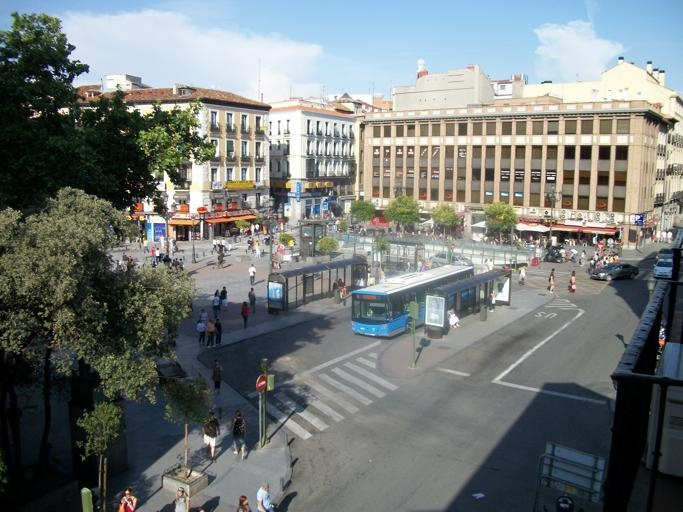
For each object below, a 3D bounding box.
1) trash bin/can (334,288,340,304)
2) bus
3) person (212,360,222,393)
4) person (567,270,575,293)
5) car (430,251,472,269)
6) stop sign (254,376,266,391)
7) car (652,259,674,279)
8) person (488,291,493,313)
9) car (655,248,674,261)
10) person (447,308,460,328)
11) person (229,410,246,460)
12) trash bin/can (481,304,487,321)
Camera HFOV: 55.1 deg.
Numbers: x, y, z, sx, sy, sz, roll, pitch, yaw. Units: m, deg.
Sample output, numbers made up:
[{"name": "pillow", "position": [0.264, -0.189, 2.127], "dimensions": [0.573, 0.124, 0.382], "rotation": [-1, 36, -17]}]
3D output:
[{"name": "trash bin/can", "position": [-0.282, 2.862, 46.854], "dimensions": [0.353, 1.039, 0.695], "rotation": [-5, 6, -40]}, {"name": "bus", "position": [4.660, 2.636, 42.031], "dimensions": [2.731, 2.915, 10.157], "rotation": [1, 6, 31]}, {"name": "person", "position": [-5.851, 5.540, 30.746], "dimensions": [0.407, 1.475, 1.104], "rotation": [-3, 4, -13]}, {"name": "person", "position": [18.946, 2.165, 53.759], "dimensions": [0.668, 1.019, 1.648], "rotation": [7, 33, 9]}, {"name": "car", "position": [9.932, 0.311, 59.235], "dimensions": [2.807, 1.203, 1.551], "rotation": [0, 8, 30]}, {"name": "stop sign", "position": [-3.076, 4.924, 25.378], "dimensions": [0.372, 0.719, 0.715], "rotation": [-2, 4, -3]}, {"name": "car", "position": [19.769, 0.720, 40.075], "dimensions": [1.052, 1.066, 2.438], "rotation": [-1, 2, 31]}, {"name": "person", "position": [10.665, 3.074, 46.134], "dimensions": [0.353, 1.367, 1.781], "rotation": [0, 5, 18]}, {"name": "car", "position": [25.700, -0.119, 51.927], "dimensions": [1.219, 1.133, 2.264], "rotation": [-4, 4, 11]}, {"name": "person", "position": [6.794, 3.912, 40.111], "dimensions": [0.793, 1.188, 0.373], "rotation": [-12, 14, -38]}, {"name": "person", "position": [-4.016, 6.779, 25.606], "dimensions": [0.506, 1.825, 1.536], "rotation": [-2, 4, -10]}, {"name": "trash bin/can", "position": [9.339, 3.728, 42.684], "dimensions": [0.456, 0.871, 1.094], "rotation": [-1, 4, 10]}]
